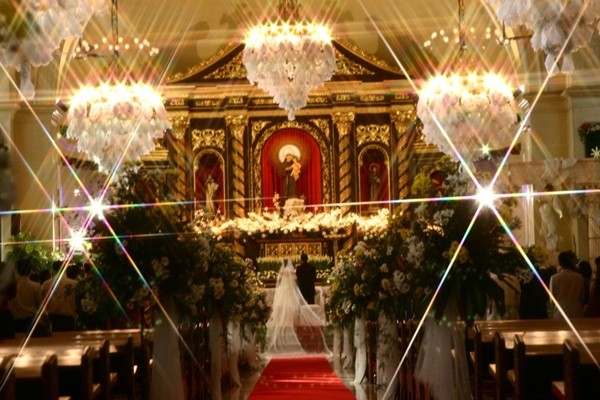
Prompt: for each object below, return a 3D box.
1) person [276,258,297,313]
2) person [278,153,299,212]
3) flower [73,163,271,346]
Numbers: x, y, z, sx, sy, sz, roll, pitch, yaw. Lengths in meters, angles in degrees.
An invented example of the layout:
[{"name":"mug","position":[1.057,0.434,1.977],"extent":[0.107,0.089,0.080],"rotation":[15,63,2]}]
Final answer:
[{"name":"person","position":[-0.314,1.896,17.949],"extent":[0.573,1.282,0.824],"rotation":[-1,-13,-2]},{"name":"person","position":[-0.250,-0.485,22.962],"extent":[0.555,1.818,0.704],"rotation":[-1,-12,0]},{"name":"flower","position":[-1.863,0.659,12.359],"extent":[2.669,2.289,0.914],"rotation":[11,-17,-40]}]
